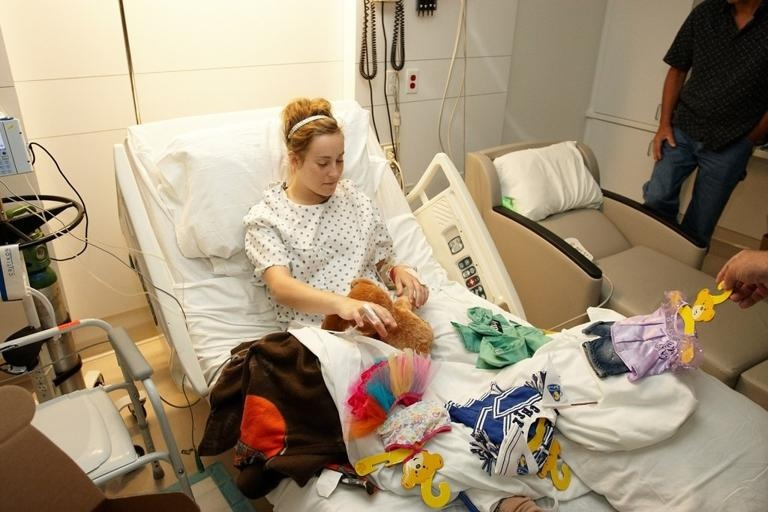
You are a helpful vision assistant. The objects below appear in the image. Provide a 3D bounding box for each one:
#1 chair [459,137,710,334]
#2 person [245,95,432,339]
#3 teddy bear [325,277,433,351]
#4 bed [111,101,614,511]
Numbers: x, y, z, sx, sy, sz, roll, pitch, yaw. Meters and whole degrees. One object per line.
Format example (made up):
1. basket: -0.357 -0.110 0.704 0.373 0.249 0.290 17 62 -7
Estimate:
1. chair: 1.231 -0.052 3.161 0.830 1.121 1.183 -14 25 -16
2. person: -0.228 -0.061 2.238 0.792 1.172 1.035 -1 19 -12
3. teddy bear: -0.026 0.271 2.148 0.474 0.266 0.286 0 25 6
4. bed: -0.444 0.154 2.686 1.406 1.475 2.433 -21 46 -20
